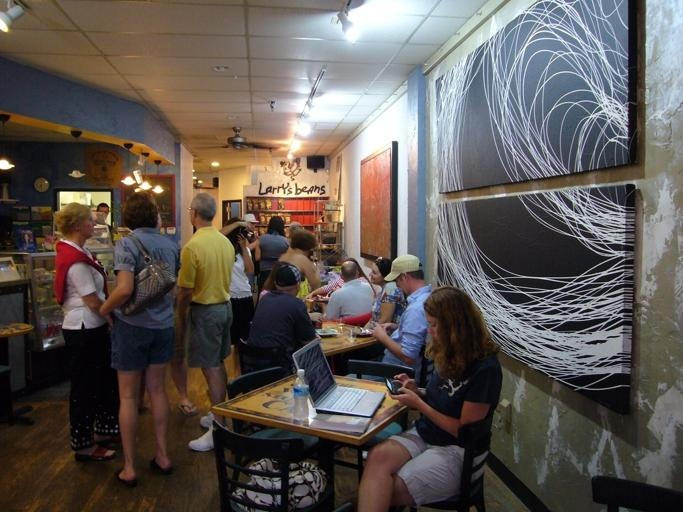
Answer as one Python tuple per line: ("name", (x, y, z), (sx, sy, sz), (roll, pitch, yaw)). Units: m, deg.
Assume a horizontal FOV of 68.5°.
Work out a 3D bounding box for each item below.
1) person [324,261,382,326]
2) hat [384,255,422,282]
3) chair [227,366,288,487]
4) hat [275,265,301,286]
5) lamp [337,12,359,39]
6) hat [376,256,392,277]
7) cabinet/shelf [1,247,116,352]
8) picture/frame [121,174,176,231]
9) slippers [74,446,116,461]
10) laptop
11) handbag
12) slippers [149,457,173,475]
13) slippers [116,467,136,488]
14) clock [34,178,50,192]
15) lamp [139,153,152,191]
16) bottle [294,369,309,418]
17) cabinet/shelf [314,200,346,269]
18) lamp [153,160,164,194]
("person", (0.117, 0.562, 5.445), (0.482, 1.077, 0.612), (3, 20, 15))
("hat", (0.545, 0.096, 4.400), (0.261, 0.150, 0.184), (-14, 4, 35))
("chair", (-0.657, 1.135, 3.628), (0.439, 0.716, 0.435), (7, 4, 4))
("hat", (-0.442, 0.166, 4.048), (0.126, 0.118, 0.204), (5, 24, 7))
("lamp", (0.051, -2.042, 4.444), (0.153, 0.228, 0.188), (-3, 10, -15))
("hat", (0.418, 0.108, 5.173), (0.141, 0.189, 0.188), (1, 5, -25))
("cabinet/shelf", (-2.834, 0.452, 4.883), (0.416, 1.081, 1.132), (1, 5, 10))
("picture/frame", (-3.836, -1.086, 9.976), (1.000, 1.199, 0.047), (-4, 32, -27))
("slippers", (-2.182, 1.725, 4.413), (0.266, 0.095, 0.154), (2, 4, -3))
("laptop", (-0.009, 0.761, 3.232), (0.566, 0.380, 0.529), (-1, 2, 30))
("handbag", (-1.564, 0.078, 3.945), (0.280, 0.716, 0.554), (15, 41, -34))
("slippers", (-1.518, 1.769, 4.196), (0.238, 0.078, 0.084), (17, 10, 41))
("slippers", (-1.762, 1.796, 4.062), (0.189, 0.072, 0.088), (28, 19, 34))
("clock", (-6.000, -1.401, 9.962), (0.274, 0.301, 0.065), (-1, 9, -1))
("lamp", (-3.717, -1.569, 9.361), (0.197, 0.680, 1.393), (-4, 11, -22))
("bottle", (-0.247, 0.827, 3.031), (0.094, 0.310, 0.118), (-1, 9, -6))
("cabinet/shelf", (-0.346, -0.355, 11.100), (0.525, 1.623, 0.927), (2, 3, -10))
("lamp", (-3.642, -1.536, 9.845), (0.180, 0.639, 0.547), (-4, 10, -21))
